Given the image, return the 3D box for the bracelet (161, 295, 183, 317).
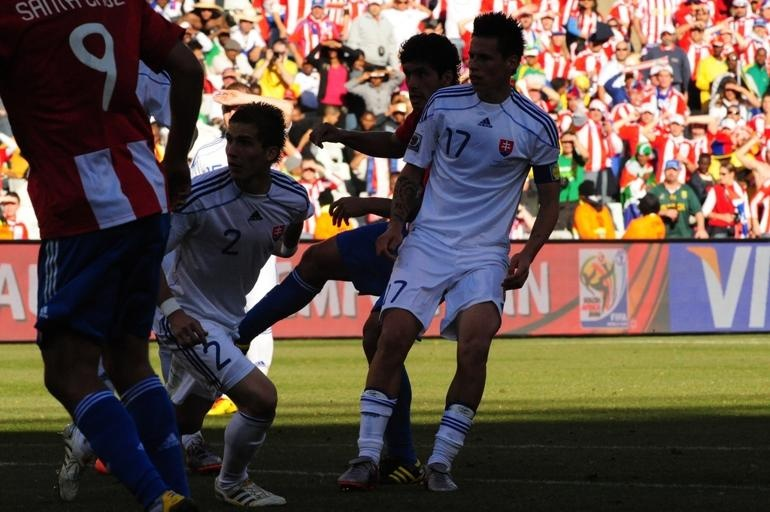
[{"bbox_3d":[-1.468,0.342,8.505,0.134,0.105,0.136,-29,13,11],"label":"bracelet"}]
